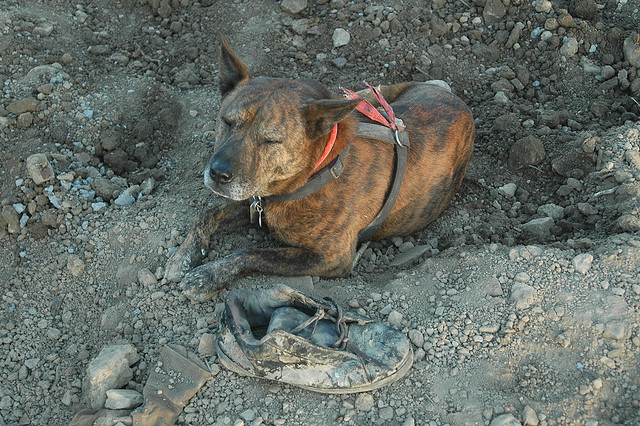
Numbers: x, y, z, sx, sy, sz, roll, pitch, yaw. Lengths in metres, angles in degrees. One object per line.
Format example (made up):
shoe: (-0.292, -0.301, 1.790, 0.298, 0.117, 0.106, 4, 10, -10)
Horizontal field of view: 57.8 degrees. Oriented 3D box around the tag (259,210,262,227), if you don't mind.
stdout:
tag: (-0.598, 0.044, 5.818, 0.033, 0.015, 0.145, -1, 65, 0)
